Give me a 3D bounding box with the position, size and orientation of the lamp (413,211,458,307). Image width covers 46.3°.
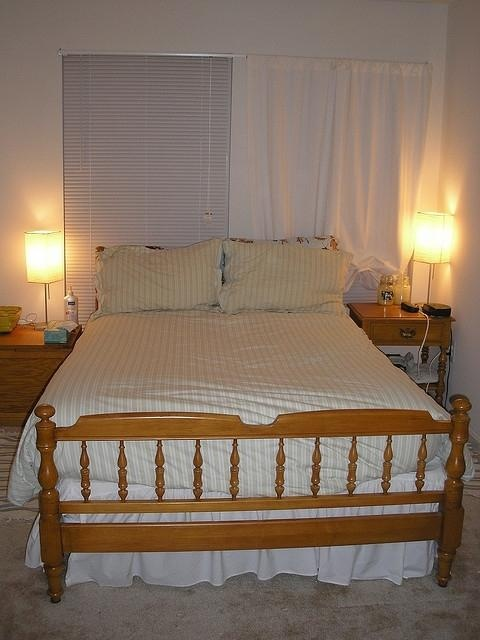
[{"bbox_3d":[1.141,-0.319,3.390,0.248,0.610,0.243,-1,7,-18],"label":"lamp"}]

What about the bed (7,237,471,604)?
[{"bbox_3d":[-0.066,0.337,2.411,1.340,0.737,1.530,0,19,-2],"label":"bed"}]

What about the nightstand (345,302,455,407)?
[{"bbox_3d":[1.012,0.230,3.434,0.495,0.554,0.394,3,8,14],"label":"nightstand"}]

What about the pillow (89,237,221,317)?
[{"bbox_3d":[-0.450,-0.229,3.111,0.693,0.383,0.160,-2,-3,-7],"label":"pillow"}]
